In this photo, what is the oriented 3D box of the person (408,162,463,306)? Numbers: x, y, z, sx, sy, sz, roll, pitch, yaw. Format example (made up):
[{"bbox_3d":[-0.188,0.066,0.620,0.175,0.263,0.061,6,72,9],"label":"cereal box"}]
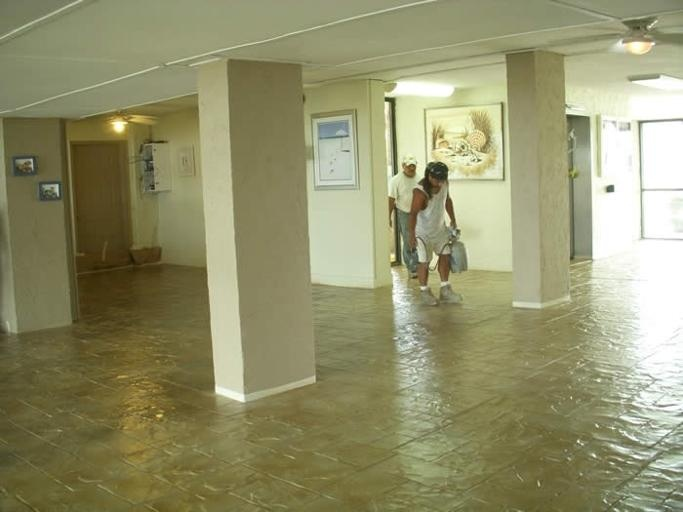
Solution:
[{"bbox_3d":[1.394,-0.332,7.627,0.820,2.116,0.524,-7,8,-30],"label":"person"}]

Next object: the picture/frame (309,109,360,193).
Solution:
[{"bbox_3d":[-0.131,-1.888,9.313,0.887,1.323,0.054,2,7,28],"label":"picture/frame"}]

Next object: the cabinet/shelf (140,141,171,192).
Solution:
[{"bbox_3d":[-4.850,-2.291,13.129,0.875,1.247,0.383,1,8,26],"label":"cabinet/shelf"}]

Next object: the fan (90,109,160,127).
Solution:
[{"bbox_3d":[-5.253,-3.344,12.449,0.782,0.310,0.815,1,7,28],"label":"fan"}]
